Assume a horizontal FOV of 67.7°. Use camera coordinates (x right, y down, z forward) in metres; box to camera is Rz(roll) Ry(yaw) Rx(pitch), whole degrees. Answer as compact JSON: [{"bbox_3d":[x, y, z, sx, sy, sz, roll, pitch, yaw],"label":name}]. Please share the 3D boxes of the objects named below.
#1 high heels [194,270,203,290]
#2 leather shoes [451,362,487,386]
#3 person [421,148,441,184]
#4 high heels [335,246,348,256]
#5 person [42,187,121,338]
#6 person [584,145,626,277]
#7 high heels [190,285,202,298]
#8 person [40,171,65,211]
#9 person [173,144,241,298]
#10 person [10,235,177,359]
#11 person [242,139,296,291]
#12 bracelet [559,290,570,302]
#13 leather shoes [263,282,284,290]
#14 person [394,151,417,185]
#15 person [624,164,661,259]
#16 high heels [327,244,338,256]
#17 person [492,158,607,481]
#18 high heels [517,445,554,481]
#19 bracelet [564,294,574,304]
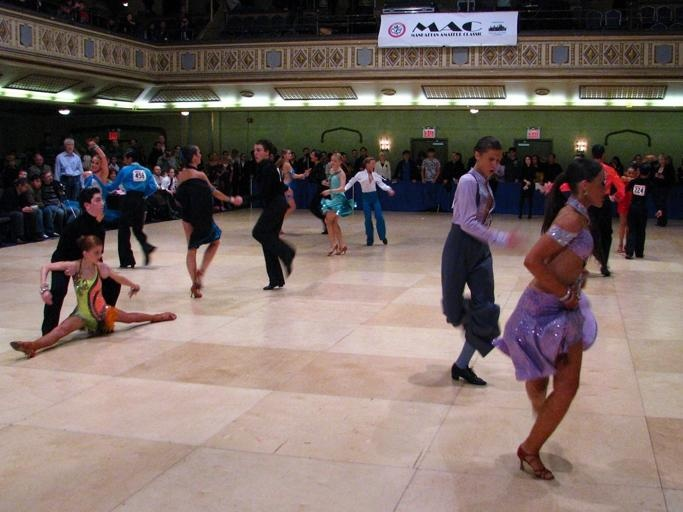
[{"bbox_3d":[-2.190,0.349,7.545,0.080,0.262,0.108,0,34,-13],"label":"high heels"},{"bbox_3d":[1.116,1.046,4.540,0.362,0.155,0.125,1,5,28],"label":"leather shoes"},{"bbox_3d":[3.550,-3.578,20.132,0.735,1.197,0.608,1,9,6],"label":"person"},{"bbox_3d":[-0.020,-0.099,11.363,0.105,0.149,0.334,-5,-13,36],"label":"high heels"},{"bbox_3d":[-3.132,0.053,5.769,0.759,1.713,1.040,11,7,7],"label":"person"},{"bbox_3d":[4.597,-0.787,9.213,0.973,2.239,0.694,-11,14,-24],"label":"person"},{"bbox_3d":[-2.243,0.509,7.592,0.152,0.193,0.220,-3,10,-17],"label":"high heels"},{"bbox_3d":[-7.603,-1.599,12.895,0.710,1.069,0.630,-5,-4,-45],"label":"person"},{"bbox_3d":[-2.186,-0.563,7.823,0.813,2.240,0.787,-7,12,-36],"label":"person"},{"bbox_3d":[-2.782,0.365,5.644,1.894,1.037,0.719,-7,-1,-34],"label":"person"},{"bbox_3d":[-1.145,-0.648,8.067,0.643,2.322,0.496,-3,10,-14],"label":"person"},{"bbox_3d":[1.291,0.229,2.913,0.016,0.059,0.059,35,-13,3],"label":"bracelet"},{"bbox_3d":[-1.137,0.469,8.121,0.346,0.147,0.116,4,1,-11],"label":"leather shoes"},{"bbox_3d":[2.645,-3.652,20.754,0.886,1.107,0.823,1,9,5],"label":"person"},{"bbox_3d":[6.423,-0.960,10.870,0.428,1.981,0.702,5,11,30],"label":"person"},{"bbox_3d":[-0.241,-0.141,11.259,0.225,0.200,0.562,0,9,0],"label":"high heels"},{"bbox_3d":[1.270,0.353,3.058,0.508,1.860,0.600,5,11,30],"label":"person"},{"bbox_3d":[1.129,1.207,3.027,0.107,0.178,0.259,-18,8,-41],"label":"high heels"},{"bbox_3d":[1.314,0.244,2.898,0.054,0.014,0.054,-40,1,28],"label":"bracelet"}]
